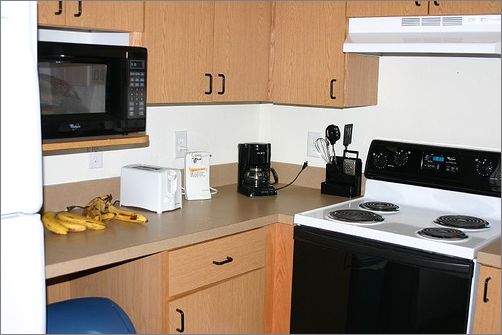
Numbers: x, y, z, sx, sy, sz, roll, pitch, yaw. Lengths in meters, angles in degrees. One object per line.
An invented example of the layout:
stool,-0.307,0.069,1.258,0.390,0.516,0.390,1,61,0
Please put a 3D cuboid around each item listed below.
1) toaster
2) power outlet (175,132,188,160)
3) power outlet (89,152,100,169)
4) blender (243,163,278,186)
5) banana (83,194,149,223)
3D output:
toaster,-0.563,0.114,2.172,0.340,0.222,0.183,7,9,30
power outlet,-0.448,-0.149,2.513,0.046,0.185,0.109,14,18,43
power outlet,-0.895,-0.043,2.186,0.090,0.100,0.017,-6,11,-45
blender,0.063,0.055,2.584,0.206,0.177,0.123,0,2,-13
banana,-0.695,0.233,1.994,0.290,0.167,0.131,15,55,14
